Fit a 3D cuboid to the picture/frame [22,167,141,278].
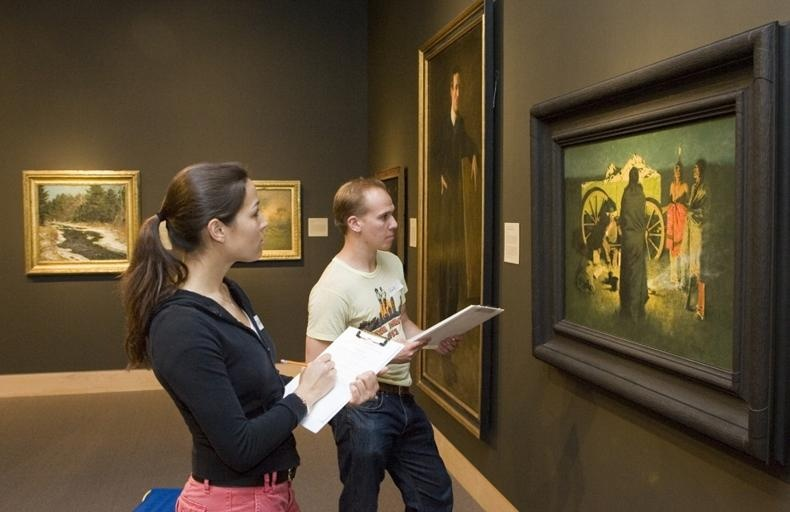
[{"bbox_3d":[-4.300,-0.497,7.364,1.394,1.451,0.112,0,1,-8],"label":"picture/frame"}]
